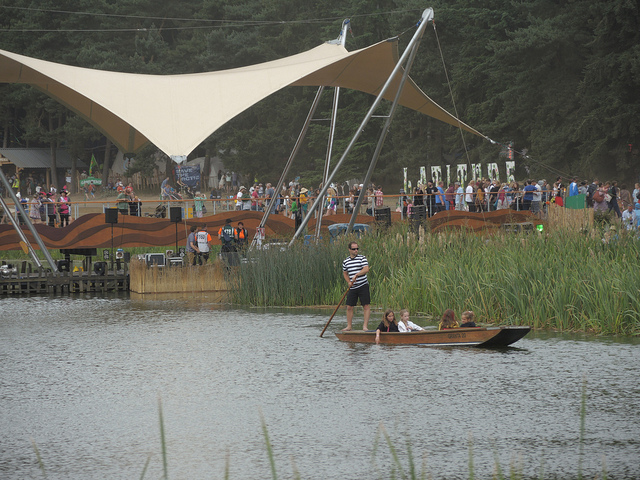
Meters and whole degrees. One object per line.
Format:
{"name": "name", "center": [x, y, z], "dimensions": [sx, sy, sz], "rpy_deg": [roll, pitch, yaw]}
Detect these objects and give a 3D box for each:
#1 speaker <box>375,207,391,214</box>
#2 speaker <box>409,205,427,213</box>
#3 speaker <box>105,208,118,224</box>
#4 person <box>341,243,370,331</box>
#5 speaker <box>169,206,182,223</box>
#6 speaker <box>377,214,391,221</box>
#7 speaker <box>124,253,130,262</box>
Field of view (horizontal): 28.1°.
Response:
{"name": "speaker", "center": [2.552, -1.198, 51.200], "dimensions": [0.235, 0.252, 0.719], "rpy_deg": [-5, 4, -43]}
{"name": "speaker", "center": [3.786, -1.217, 49.645], "dimensions": [0.533, 0.290, 1.103], "rpy_deg": [-2, 3, 10]}
{"name": "speaker", "center": [-7.598, -0.915, 46.897], "dimensions": [0.547, 0.664, 0.418], "rpy_deg": [-1, 0, -23]}
{"name": "person", "center": [1.083, 1.460, 39.904], "dimensions": [0.874, 2.855, 0.744], "rpy_deg": [-1, 5, 23]}
{"name": "speaker", "center": [-5.342, -0.984, 47.627], "dimensions": [0.384, 0.602, 0.674], "rpy_deg": [-3, 3, -11]}
{"name": "speaker", "center": [2.588, -0.937, 51.026], "dimensions": [0.249, 0.217, 0.275], "rpy_deg": [2, -5, -13]}
{"name": "speaker", "center": [-7.253, 0.667, 48.345], "dimensions": [0.214, 0.500, 0.241], "rpy_deg": [1, 2, 8]}
